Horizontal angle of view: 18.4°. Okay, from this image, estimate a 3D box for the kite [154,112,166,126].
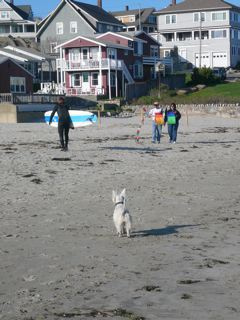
[{"bbox_3d":[1.291,-1.342,24.079,0.220,0.392,0.363,1,-3,16],"label":"kite"}]

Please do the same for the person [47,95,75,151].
[{"bbox_3d":[-1.667,-1.080,21.536,0.583,1.590,0.513,-3,0,-25],"label":"person"}]
